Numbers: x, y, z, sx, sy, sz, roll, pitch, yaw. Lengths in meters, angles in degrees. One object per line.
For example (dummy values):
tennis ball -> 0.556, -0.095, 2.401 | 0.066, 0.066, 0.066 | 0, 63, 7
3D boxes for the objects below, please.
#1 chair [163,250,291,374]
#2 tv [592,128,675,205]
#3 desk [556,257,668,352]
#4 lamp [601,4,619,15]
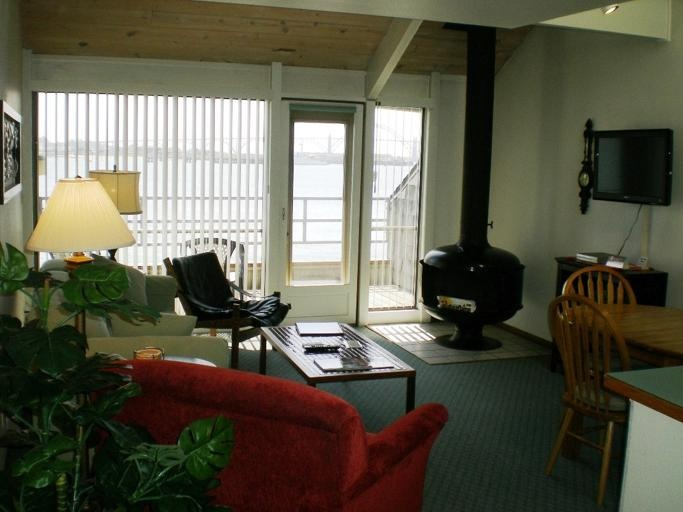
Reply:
chair -> -1.069, 0.451, 5.132 | 0.955, 0.834, 0.915 | 6, 5, 12
tv -> 2.471, -0.753, 4.623 | 0.136, 0.597, 0.676 | -2, 5, -25
desk -> 2.302, 0.227, 4.834 | 0.395, 0.901, 0.951 | -1, 7, -14
lamp -> 2.199, -2.022, 4.531 | 0.124, 0.072, 0.190 | 7, 12, 30
